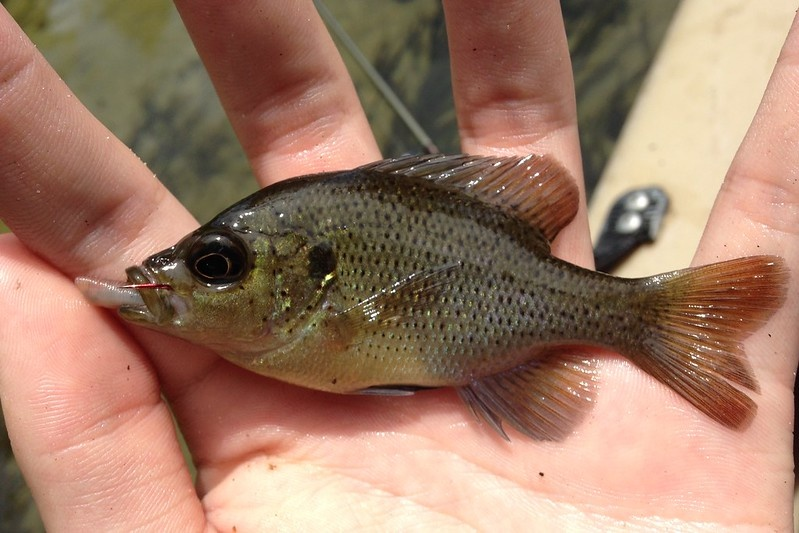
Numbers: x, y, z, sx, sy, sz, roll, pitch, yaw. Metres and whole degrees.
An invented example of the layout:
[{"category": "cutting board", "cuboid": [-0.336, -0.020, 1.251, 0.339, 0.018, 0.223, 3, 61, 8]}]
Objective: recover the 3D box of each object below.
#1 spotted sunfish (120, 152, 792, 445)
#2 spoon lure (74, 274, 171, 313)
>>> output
[{"category": "spotted sunfish", "cuboid": [0.293, 0.165, 4.392, 3.366, 0.671, 1.575, 6, 100, -3]}, {"category": "spoon lure", "cuboid": [-1.396, 0.140, 4.238, 0.513, 0.064, 0.131, 3, 77, 10]}]
